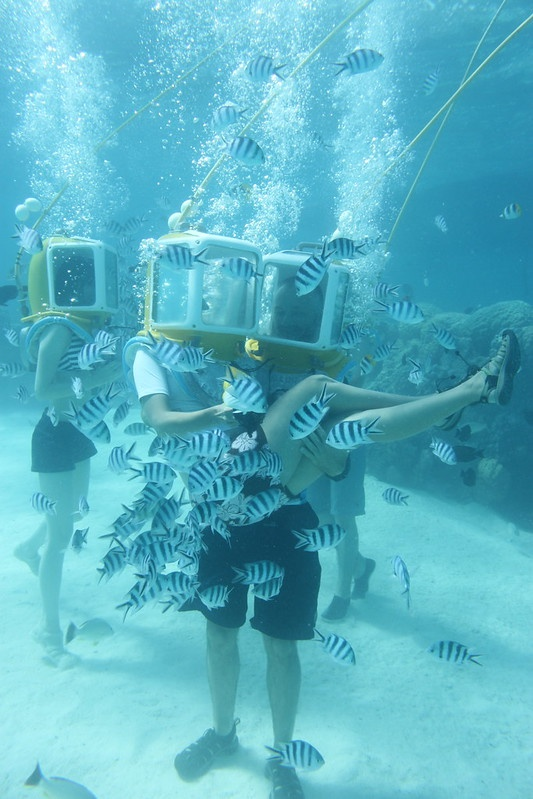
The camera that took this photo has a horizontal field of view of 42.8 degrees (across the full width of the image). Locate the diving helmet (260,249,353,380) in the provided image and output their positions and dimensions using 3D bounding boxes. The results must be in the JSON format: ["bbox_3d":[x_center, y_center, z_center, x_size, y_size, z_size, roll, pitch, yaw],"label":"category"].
[{"bbox_3d":[0.192,-0.615,4.914,0.719,0.886,0.567,9,-15,-5],"label":"diving helmet"}]

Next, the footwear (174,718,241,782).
[{"bbox_3d":[-0.397,2.375,4.704,0.508,0.282,0.219,-18,55,-37],"label":"footwear"}]

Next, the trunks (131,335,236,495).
[{"bbox_3d":[-0.558,-0.048,4.434,0.524,0.544,0.719,0,5,-22],"label":"trunks"}]

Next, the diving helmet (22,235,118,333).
[{"bbox_3d":[-1.421,-0.962,5.540,0.894,0.781,0.646,-2,13,-6],"label":"diving helmet"}]

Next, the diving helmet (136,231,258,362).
[{"bbox_3d":[-0.511,-0.743,5.105,0.973,1.157,0.906,6,1,3],"label":"diving helmet"}]

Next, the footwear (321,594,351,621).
[{"bbox_3d":[0.614,1.856,5.987,0.155,0.112,0.289,3,31,38],"label":"footwear"}]

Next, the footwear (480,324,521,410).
[{"bbox_3d":[1.460,-0.199,4.215,0.245,0.495,0.183,7,-9,23],"label":"footwear"}]
